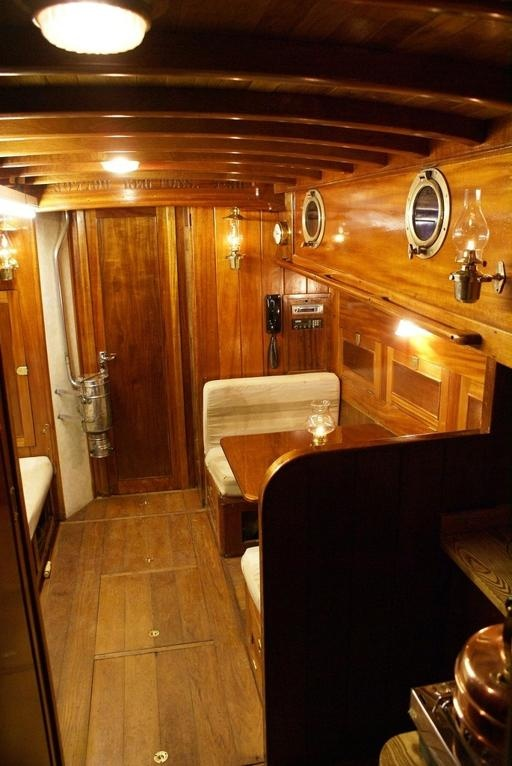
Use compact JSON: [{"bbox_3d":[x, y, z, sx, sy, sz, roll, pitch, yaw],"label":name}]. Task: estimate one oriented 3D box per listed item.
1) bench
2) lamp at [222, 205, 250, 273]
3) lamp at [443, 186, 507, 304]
[{"bbox_3d":[0.186,0.491,3.697,0.932,1.163,1.799,-2,25,-6],"label":"bench"},{"bbox_3d":[-0.171,-1.175,4.469,0.164,0.506,0.388,-1,11,-2],"label":"lamp"},{"bbox_3d":[0.587,-0.373,1.499,0.112,0.319,0.263,0,11,4],"label":"lamp"}]
